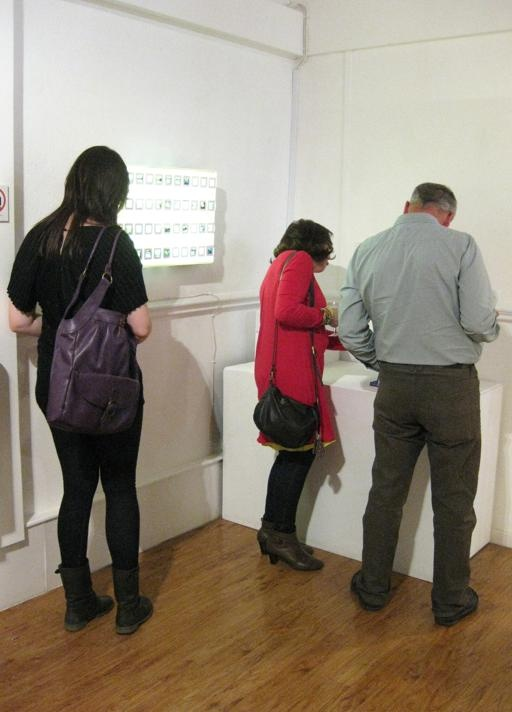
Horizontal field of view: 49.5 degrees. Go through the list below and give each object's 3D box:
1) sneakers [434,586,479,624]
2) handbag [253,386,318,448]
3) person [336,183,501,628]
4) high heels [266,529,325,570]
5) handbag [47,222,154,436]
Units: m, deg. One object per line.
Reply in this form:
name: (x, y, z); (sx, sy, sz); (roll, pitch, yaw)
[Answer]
sneakers: (0.673, 0.855, 1.903); (0.072, 0.094, 0.194); (10, 23, 42)
handbag: (0.114, 0.223, 2.044); (0.182, 0.187, 0.097); (23, 25, 29)
person: (0.502, 0.217, 1.847); (0.514, 1.355, 0.271); (2, 3, 23)
high heels: (0.138, 0.798, 2.334); (0.295, 0.167, 0.108); (3, 0, 15)
handbag: (-0.430, -0.065, 1.485); (0.238, 0.562, 0.081); (0, 3, -21)
